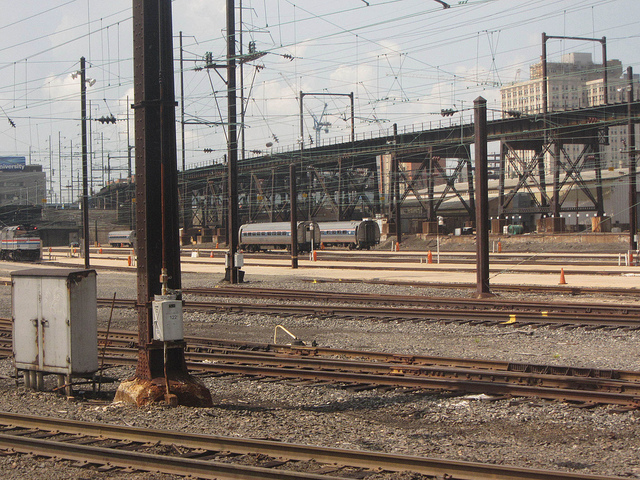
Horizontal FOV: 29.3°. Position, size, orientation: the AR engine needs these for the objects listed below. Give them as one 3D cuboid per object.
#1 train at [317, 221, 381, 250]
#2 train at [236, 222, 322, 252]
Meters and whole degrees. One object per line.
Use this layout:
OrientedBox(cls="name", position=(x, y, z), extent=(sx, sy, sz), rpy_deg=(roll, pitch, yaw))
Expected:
OrientedBox(cls="train", position=(1.907, -0.246, 89.674), extent=(1.813, 2.085, 7.991), rpy_deg=(0, 0, -23))
OrientedBox(cls="train", position=(-3.002, -0.137, 88.533), extent=(3.453, 2.097, 9.429), rpy_deg=(-2, 1, -23))
